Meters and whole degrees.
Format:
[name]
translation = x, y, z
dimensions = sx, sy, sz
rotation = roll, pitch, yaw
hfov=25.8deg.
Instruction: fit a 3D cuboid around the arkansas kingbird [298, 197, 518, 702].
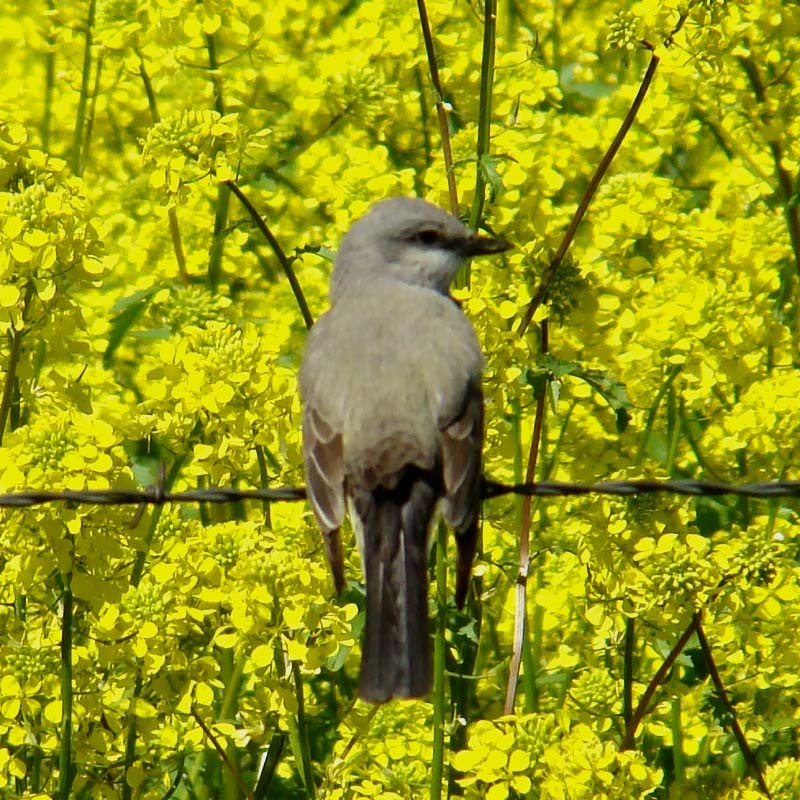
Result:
[arkansas kingbird]
translation = -0.001, 0.094, 4.677
dimensions = 0.498, 1.525, 0.990
rotation = -3, -70, 4
